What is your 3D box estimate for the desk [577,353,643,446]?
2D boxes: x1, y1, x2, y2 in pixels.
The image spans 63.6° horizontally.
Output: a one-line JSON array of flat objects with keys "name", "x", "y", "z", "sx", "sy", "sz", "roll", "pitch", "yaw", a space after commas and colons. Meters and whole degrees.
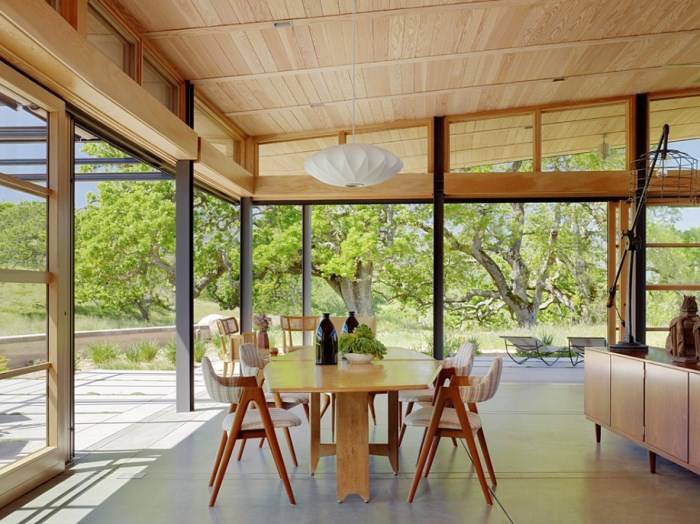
[{"name": "desk", "x": 2.354, "y": 1.239, "z": 5.079, "sx": 0.287, "sy": 0.763, "sz": 0.872, "roll": 2, "pitch": -6, "yaw": -2}]

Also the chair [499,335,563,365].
[{"name": "chair", "x": 3.416, "y": 1.586, "z": 10.454, "sx": 0.759, "sy": 0.518, "sz": 1.662, "roll": -2, "pitch": -5, "yaw": 32}]

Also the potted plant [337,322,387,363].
[{"name": "potted plant", "x": 0.097, "y": 0.661, "z": 4.627, "sx": 0.324, "sy": 0.260, "sz": 0.317, "roll": 1, "pitch": -9, "yaw": -8}]

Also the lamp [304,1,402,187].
[{"name": "lamp", "x": 0.084, "y": -1.586, "z": 6.307, "sx": 0.959, "sy": 1.679, "sz": 2.111, "roll": 0, "pitch": 0, "yaw": 5}]

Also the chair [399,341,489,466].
[{"name": "chair", "x": 0.819, "y": 1.213, "z": 5.502, "sx": 0.969, "sy": 1.139, "sz": 0.854, "roll": 1, "pitch": -8, "yaw": -1}]

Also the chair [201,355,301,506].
[{"name": "chair", "x": -0.769, "y": 1.307, "z": 4.468, "sx": 0.809, "sy": 1.007, "sz": 0.742, "roll": 2, "pitch": -6, "yaw": -23}]

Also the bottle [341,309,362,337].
[{"name": "bottle", "x": 0.003, "y": 0.545, "z": 5.100, "sx": 0.215, "sy": 0.294, "sz": 0.211, "roll": 1, "pitch": -7, "yaw": 0}]

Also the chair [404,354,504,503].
[{"name": "chair", "x": 0.815, "y": 1.298, "z": 4.525, "sx": 0.768, "sy": 0.980, "sz": 0.717, "roll": -3, "pitch": -5, "yaw": 27}]
